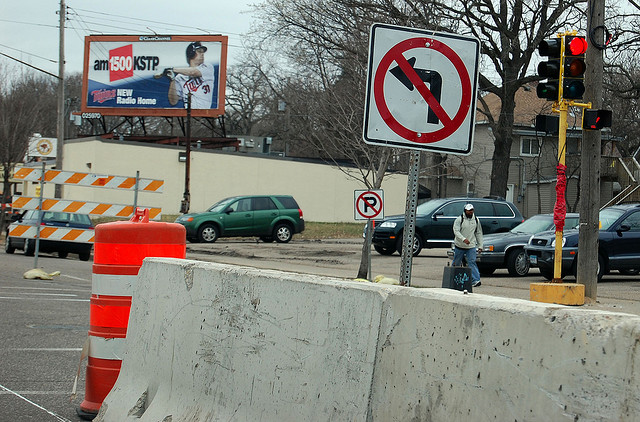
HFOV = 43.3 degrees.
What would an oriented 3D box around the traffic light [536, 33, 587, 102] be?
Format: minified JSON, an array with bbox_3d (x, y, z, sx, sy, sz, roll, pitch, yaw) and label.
[{"bbox_3d":[4.611,-2.770,15.387,0.881,1.381,0.577,1,-1,14],"label":"traffic light"}]

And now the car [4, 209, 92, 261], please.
[{"bbox_3d":[-8.543,0.769,25.312,1.641,1.428,2.700,-1,5,-37],"label":"car"}]

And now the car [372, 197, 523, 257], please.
[{"bbox_3d":[4.189,0.318,26.114,4.622,1.906,2.062,-1,-1,-6],"label":"car"}]

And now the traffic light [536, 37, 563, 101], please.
[{"bbox_3d":[4.362,-2.719,15.303,0.445,1.215,0.455,1,-1,14],"label":"traffic light"}]

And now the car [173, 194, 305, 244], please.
[{"bbox_3d":[-3.273,0.394,32.032,4.722,1.901,2.107,2,-3,-25],"label":"car"}]

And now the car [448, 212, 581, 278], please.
[{"bbox_3d":[5.553,0.912,22.543,3.766,1.371,1.712,-1,-2,-18],"label":"car"}]

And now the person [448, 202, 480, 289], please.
[{"bbox_3d":[3.565,0.831,19.629,0.736,1.980,0.818,1,-1,34],"label":"person"}]
